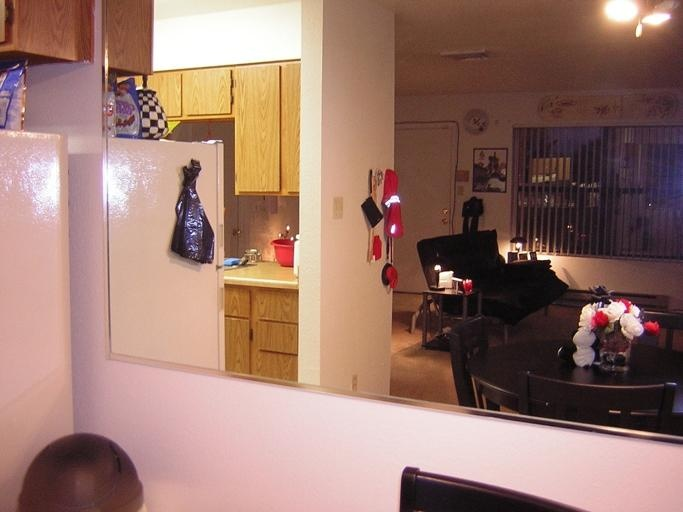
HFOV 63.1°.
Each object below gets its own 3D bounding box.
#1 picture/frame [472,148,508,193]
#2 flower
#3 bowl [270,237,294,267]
[{"bbox_3d":[0.363,-0.211,1.352,0.097,0.132,0.008,1,-1,7],"label":"picture/frame"},{"bbox_3d":[0.686,0.172,1.412,0.173,0.184,0.172,3,-4,-40],"label":"flower"},{"bbox_3d":[-0.176,-0.008,1.610,0.069,0.057,0.073,0,3,0],"label":"bowl"}]
